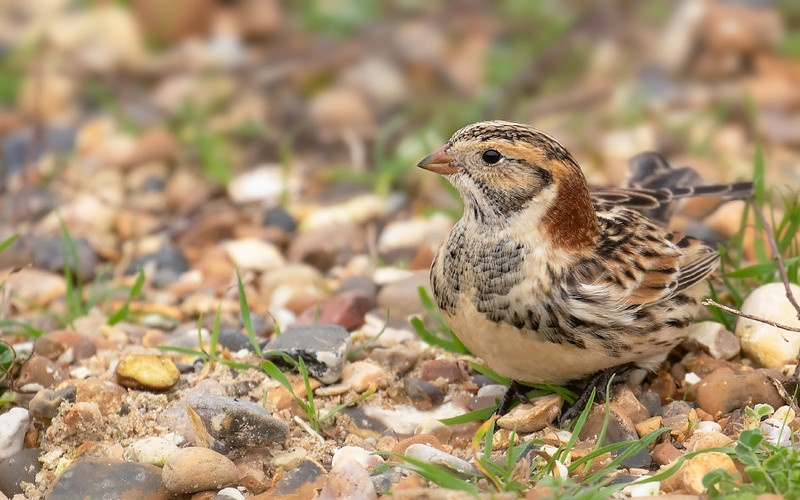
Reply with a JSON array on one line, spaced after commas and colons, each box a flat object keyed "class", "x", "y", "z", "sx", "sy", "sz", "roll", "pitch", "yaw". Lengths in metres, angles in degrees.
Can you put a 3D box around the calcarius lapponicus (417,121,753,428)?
[{"class": "calcarius lapponicus", "x": 0.884, "y": 0.046, "z": 3.893, "sx": 1.535, "sy": 1.306, "sz": 0.858, "roll": -1, "pitch": 34, "yaw": 1}]
